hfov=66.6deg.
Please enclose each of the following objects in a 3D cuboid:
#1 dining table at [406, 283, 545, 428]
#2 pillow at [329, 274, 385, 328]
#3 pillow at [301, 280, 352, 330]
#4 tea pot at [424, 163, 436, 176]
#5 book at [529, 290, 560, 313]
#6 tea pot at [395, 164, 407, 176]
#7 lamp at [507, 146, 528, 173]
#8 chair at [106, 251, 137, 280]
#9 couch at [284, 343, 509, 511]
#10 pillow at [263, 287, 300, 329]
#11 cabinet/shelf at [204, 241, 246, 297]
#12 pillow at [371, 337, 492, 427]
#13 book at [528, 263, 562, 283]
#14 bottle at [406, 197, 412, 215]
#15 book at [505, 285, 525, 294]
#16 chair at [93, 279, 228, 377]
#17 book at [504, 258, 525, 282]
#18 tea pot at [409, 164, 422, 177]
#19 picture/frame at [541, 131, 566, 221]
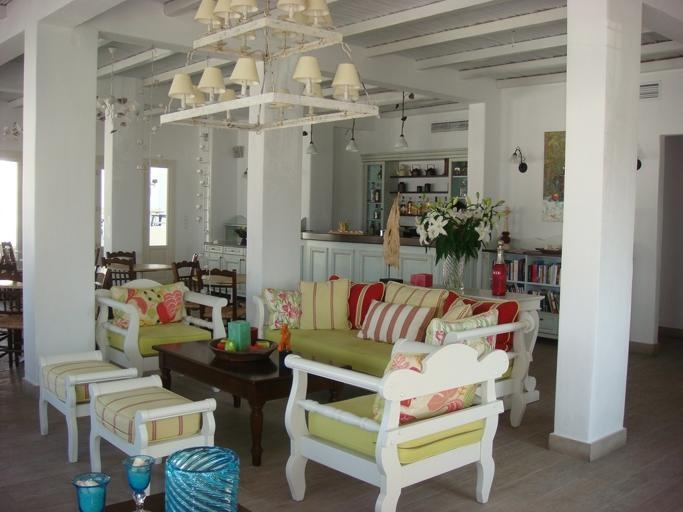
[{"bbox_3d":[1.236,0.900,4.620,1.091,1.282,1.335,0,-1,-31],"label":"dining table"},{"bbox_3d":[0.218,0.459,5.371,0.445,0.438,0.134,-4,-12,44],"label":"pillow"},{"bbox_3d":[-0.142,0.538,5.432,0.495,0.469,0.170,0,-14,7],"label":"pillow"},{"bbox_3d":[1.753,-1.673,10.286,0.166,0.247,0.235,0,5,-12],"label":"tea pot"},{"bbox_3d":[2.581,0.583,6.598,0.140,0.365,0.393,-4,7,-43],"label":"book"},{"bbox_3d":[1.175,-1.767,10.703,0.153,0.256,0.257,2,-1,-34],"label":"tea pot"},{"bbox_3d":[2.773,-1.513,8.164,0.265,0.432,0.230,3,6,18],"label":"lamp"},{"bbox_3d":[-3.382,0.161,8.073,0.489,0.572,0.410,1,-1,27],"label":"chair"},{"bbox_3d":[0.359,0.943,3.479,1.323,1.255,1.070,-3,6,-43],"label":"couch"},{"bbox_3d":[-0.610,0.558,5.481,0.414,0.389,0.123,-2,-10,-26],"label":"pillow"},{"bbox_3d":[-2.059,0.252,9.481,0.442,0.980,1.143,0,2,-44],"label":"cabinet/shelf"},{"bbox_3d":[0.531,0.801,3.130,0.543,0.462,0.159,3,10,-22],"label":"pillow"},{"bbox_3d":[2.896,0.252,7.546,0.456,0.248,0.466,1,3,-11],"label":"book"},{"bbox_3d":[1.374,-1.004,10.602,0.116,0.313,0.172,2,6,8],"label":"bottle"},{"bbox_3d":[2.441,0.469,7.325,0.227,0.109,0.306,1,0,16],"label":"book"},{"bbox_3d":[-1.877,0.744,5.344,1.358,1.057,0.955,-2,3,-42],"label":"chair"},{"bbox_3d":[2.600,0.244,7.847,0.394,0.383,0.290,-3,-3,26],"label":"book"},{"bbox_3d":[1.514,-1.709,10.493,0.289,0.240,0.161,5,6,31],"label":"tea pot"},{"bbox_3d":[3.231,-1.210,7.942,0.120,1.368,0.378,-2,7,-34],"label":"picture/frame"}]
